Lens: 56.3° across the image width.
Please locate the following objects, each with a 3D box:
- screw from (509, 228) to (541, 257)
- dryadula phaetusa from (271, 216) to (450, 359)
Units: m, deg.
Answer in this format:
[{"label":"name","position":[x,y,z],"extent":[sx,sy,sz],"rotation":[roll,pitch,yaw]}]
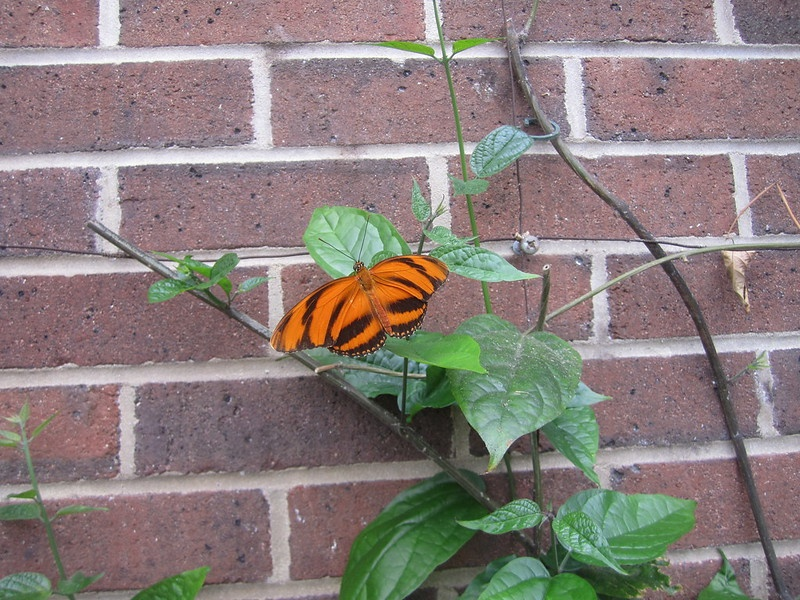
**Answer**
[{"label":"screw","position":[0.205,-0.092,1.219],"extent":[0.035,0.022,0.039],"rotation":[-10,82,8]},{"label":"dryadula phaetusa","position":[-0.039,-0.005,1.042],"extent":[0.287,0.064,0.156],"rotation":[-26,107,-25]}]
